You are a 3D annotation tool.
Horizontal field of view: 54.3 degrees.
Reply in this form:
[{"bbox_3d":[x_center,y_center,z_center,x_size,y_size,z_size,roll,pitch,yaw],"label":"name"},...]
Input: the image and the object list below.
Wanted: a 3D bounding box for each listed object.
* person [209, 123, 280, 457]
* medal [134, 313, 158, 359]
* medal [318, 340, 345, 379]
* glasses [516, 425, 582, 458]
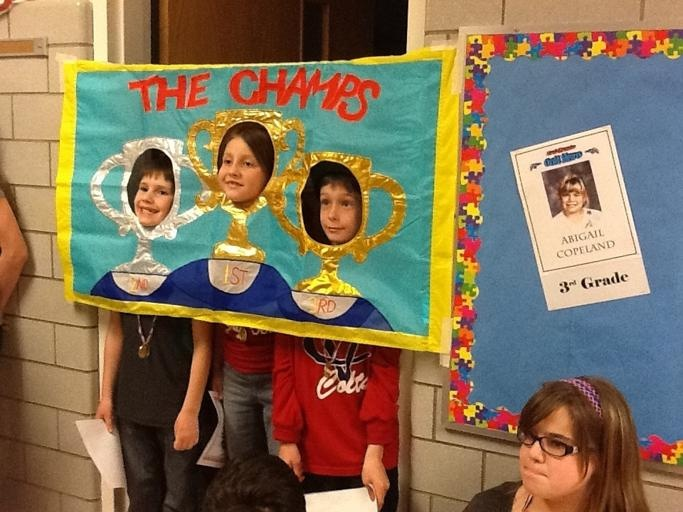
[{"bbox_3d":[-0.318,0.140,2.245,0.220,1.148,0.253,2,5,-9],"label":"person"},{"bbox_3d":[-0.708,0.282,2.400,0.004,0.161,0.078,-7,-16,38],"label":"medal"},{"bbox_3d":[-0.033,0.327,2.098,0.072,0.096,0.024,11,4,33],"label":"medal"},{"bbox_3d":[0.493,0.455,1.654,0.060,0.053,0.171,-1,6,-35],"label":"glasses"}]
